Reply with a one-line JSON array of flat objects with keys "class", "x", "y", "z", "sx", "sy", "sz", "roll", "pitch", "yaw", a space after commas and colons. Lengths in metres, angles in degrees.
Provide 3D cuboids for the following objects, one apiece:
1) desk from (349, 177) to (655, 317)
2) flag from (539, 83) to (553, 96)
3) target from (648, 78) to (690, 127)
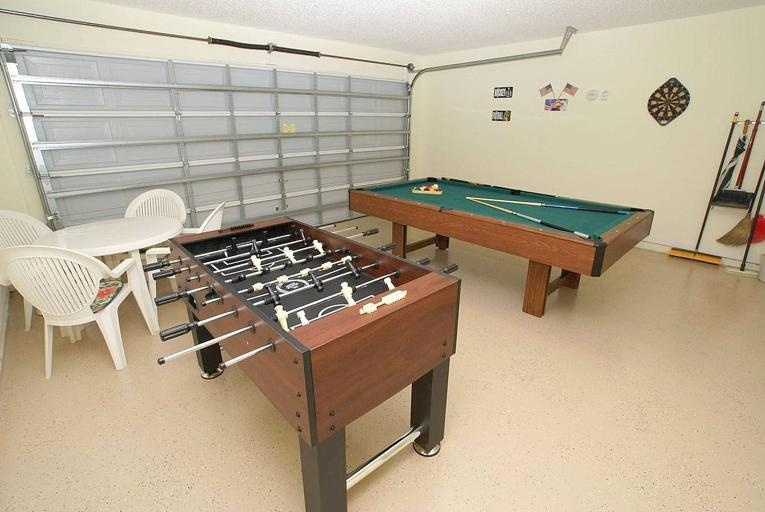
[{"class": "desk", "x": 1.225, "y": -0.266, "z": 5.752, "sx": 3.175, "sy": 0.986, "sz": 1.496, "roll": 20, "pitch": 30, "yaw": 37}, {"class": "flag", "x": 2.369, "y": -2.412, "z": 6.784, "sx": 0.227, "sy": 0.161, "sz": 0.015, "roll": 5, "pitch": 18, "yaw": 45}, {"class": "target", "x": 3.641, "y": -1.953, "z": 5.947, "sx": 0.504, "sy": 0.508, "sz": 0.082, "roll": 16, "pitch": 21, "yaw": 29}]
